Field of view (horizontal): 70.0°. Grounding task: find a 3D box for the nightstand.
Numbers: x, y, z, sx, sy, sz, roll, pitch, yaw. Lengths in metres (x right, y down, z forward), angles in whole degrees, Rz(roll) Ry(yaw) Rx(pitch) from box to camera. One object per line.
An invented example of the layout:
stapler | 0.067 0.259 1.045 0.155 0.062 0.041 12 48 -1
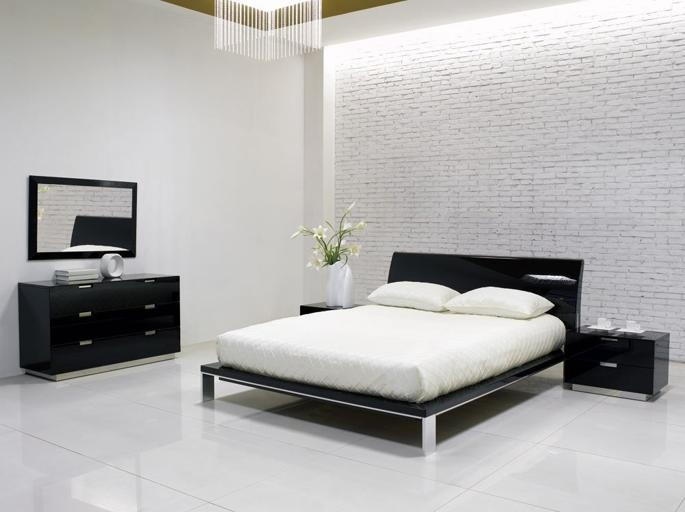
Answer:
nightstand | 2.253 0.825 4.091 0.776 0.471 0.617 0 -1 39

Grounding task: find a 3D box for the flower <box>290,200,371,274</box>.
flower | -0.169 -0.038 5.780 0.784 0.678 0.815 -6 16 20

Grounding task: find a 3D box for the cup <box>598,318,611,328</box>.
cup | 2.373 0.607 4.435 0.097 0.049 0.088 1 -2 0

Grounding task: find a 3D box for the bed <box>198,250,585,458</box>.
bed | 1.067 0.505 4.256 1.876 0.776 2.288 1 1 41

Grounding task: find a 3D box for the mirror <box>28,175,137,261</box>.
mirror | -2.622 -0.360 4.990 0.034 0.789 1.207 7 6 24

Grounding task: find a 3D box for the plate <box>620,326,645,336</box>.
plate | 2.515 0.648 4.272 0.112 0.044 0.127 -2 -4 42

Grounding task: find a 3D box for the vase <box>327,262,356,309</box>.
vase | 0.011 0.326 5.497 0.411 0.459 0.350 4 5 40

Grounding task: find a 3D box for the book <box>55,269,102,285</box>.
book | -2.531 0.198 4.674 0.399 0.129 0.365 -1 3 -25

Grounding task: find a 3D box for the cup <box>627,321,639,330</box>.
cup | 2.563 0.617 4.321 0.078 0.041 0.077 0 2 0

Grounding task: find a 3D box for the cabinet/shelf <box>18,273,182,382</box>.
cabinet/shelf | -2.326 0.645 4.842 1.344 0.831 0.416 -2 4 -39
